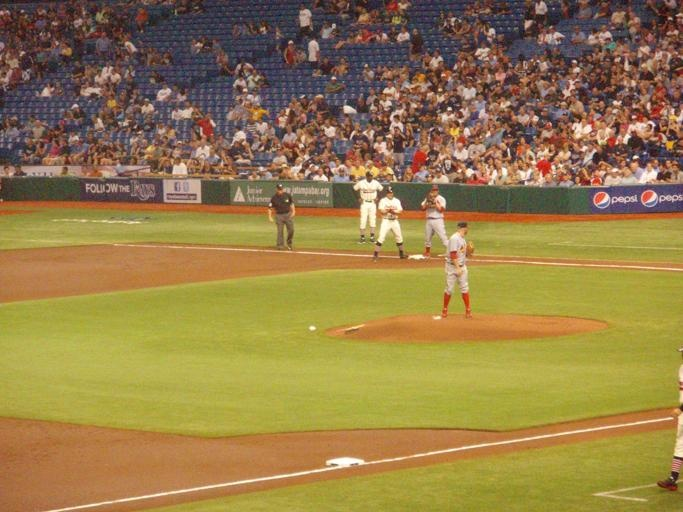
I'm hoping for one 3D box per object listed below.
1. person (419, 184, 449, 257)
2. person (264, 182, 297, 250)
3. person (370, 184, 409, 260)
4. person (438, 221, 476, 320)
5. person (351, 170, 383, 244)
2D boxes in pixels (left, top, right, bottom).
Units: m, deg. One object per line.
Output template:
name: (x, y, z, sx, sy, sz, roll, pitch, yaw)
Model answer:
person: (2.907, -1.049, 35.214, 0.971, 2.282, 0.828, -1, 11, -18)
person: (-1.941, -1.348, 38.543, 1.111, 2.400, 1.197, 0, 1, -18)
person: (1.534, -1.040, 36.045, 1.179, 2.283, 0.840, 1, -2, -11)
person: (2.801, 0.309, 27.310, 0.904, 2.198, 0.706, -2, 12, -15)
person: (0.843, -1.693, 40.063, 1.029, 2.571, 0.894, 3, 11, 5)
